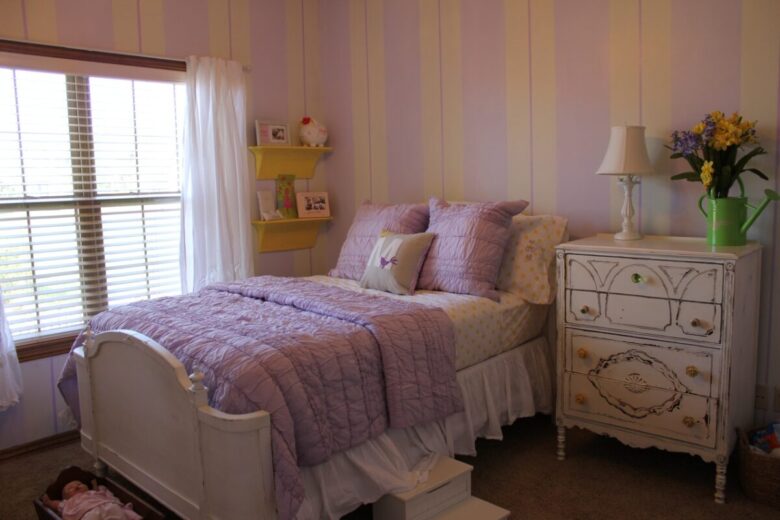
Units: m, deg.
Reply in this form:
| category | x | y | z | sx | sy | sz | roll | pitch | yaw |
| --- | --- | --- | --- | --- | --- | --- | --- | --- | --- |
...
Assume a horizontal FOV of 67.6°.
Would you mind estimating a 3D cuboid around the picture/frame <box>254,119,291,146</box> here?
| category | x | y | z | sx | sy | sz | roll | pitch | yaw |
| --- | --- | --- | --- | --- | --- | --- | --- | --- | --- |
| picture/frame | -0.977 | -1.044 | 4.759 | 0.239 | 0.173 | 0.018 | -9 | 5 | -43 |

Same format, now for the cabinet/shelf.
| category | x | y | z | sx | sy | sz | roll | pitch | yaw |
| --- | --- | --- | --- | --- | --- | --- | --- | --- | --- |
| cabinet/shelf | -0.866 | -0.526 | 4.864 | 0.262 | 1.024 | 0.842 | 3 | 7 | 39 |

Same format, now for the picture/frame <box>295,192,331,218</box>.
| category | x | y | z | sx | sy | sz | roll | pitch | yaw |
| --- | --- | --- | --- | --- | --- | --- | --- | --- | --- |
| picture/frame | -0.674 | -0.471 | 4.973 | 0.229 | 0.172 | 0.024 | -5 | 1 | -38 |

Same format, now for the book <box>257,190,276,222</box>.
| category | x | y | z | sx | sy | sz | roll | pitch | yaw |
| --- | --- | --- | --- | --- | --- | --- | --- | --- | --- |
| book | -0.998 | -0.452 | 4.759 | 0.151 | 0.226 | 0.138 | -10 | 15 | -25 |

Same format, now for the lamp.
| category | x | y | z | sx | sy | sz | roll | pitch | yaw |
| --- | --- | --- | --- | --- | --- | --- | --- | --- | --- |
| lamp | 1.442 | -0.483 | 3.566 | 0.295 | 0.670 | 0.345 | 3 | 15 | 24 |

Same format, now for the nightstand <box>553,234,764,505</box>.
| category | x | y | z | sx | sy | sz | roll | pitch | yaw |
| --- | --- | --- | --- | --- | --- | --- | --- | --- | --- |
| nightstand | 1.532 | 0.559 | 3.368 | 1.072 | 1.316 | 0.583 | 5 | 16 | 30 |

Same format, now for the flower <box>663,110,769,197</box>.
| category | x | y | z | sx | sy | sz | roll | pitch | yaw |
| --- | --- | --- | --- | --- | --- | --- | --- | --- | --- |
| flower | 1.875 | -0.617 | 3.381 | 0.459 | 0.474 | 0.412 | -8 | 14 | -19 |
